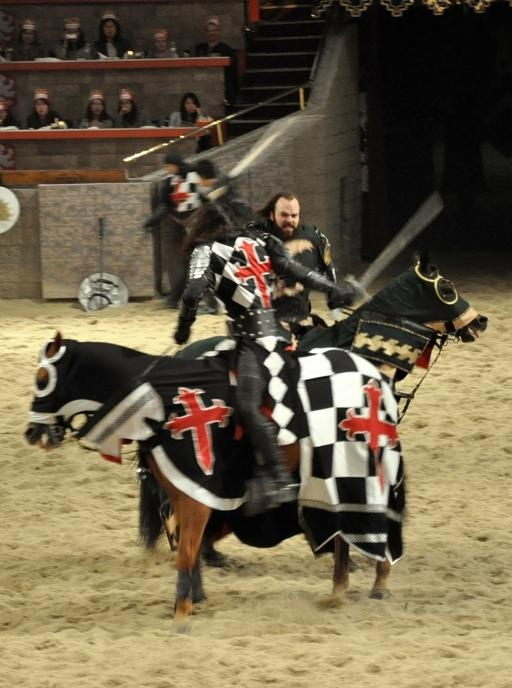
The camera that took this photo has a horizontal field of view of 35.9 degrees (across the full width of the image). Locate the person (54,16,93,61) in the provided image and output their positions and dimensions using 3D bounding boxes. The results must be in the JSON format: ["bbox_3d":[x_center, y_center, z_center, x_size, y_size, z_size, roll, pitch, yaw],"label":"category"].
[{"bbox_3d":[-3.111,-5.232,13.543,0.517,0.815,0.545,2,6,-19],"label":"person"}]

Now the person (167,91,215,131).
[{"bbox_3d":[-1.043,-3.732,12.610,0.647,0.601,0.458,3,5,-10],"label":"person"}]

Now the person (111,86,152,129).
[{"bbox_3d":[-1.985,-3.833,12.874,0.596,0.669,0.352,4,6,2],"label":"person"}]

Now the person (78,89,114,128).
[{"bbox_3d":[-2.596,-3.861,13.013,0.430,0.679,0.482,1,6,-28],"label":"person"}]

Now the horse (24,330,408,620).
[{"bbox_3d":[-0.018,0.551,3.471,2.142,1.159,0.667,-3,6,25],"label":"horse"}]

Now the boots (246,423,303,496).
[{"bbox_3d":[0.053,0.468,3.176,0.207,0.397,0.227,4,5,0],"label":"boots"}]

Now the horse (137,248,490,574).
[{"bbox_3d":[0.168,0.275,3.420,1.933,1.168,0.495,-15,31,-29],"label":"horse"}]

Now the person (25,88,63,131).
[{"bbox_3d":[-3.463,-3.857,13.032,0.537,0.705,0.503,1,6,-28],"label":"person"}]
